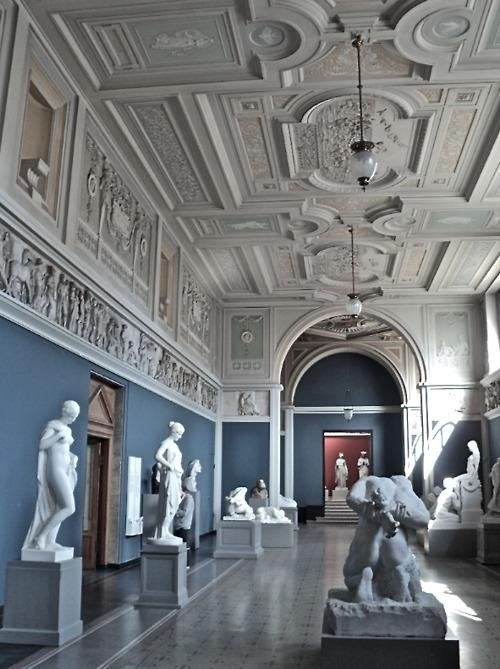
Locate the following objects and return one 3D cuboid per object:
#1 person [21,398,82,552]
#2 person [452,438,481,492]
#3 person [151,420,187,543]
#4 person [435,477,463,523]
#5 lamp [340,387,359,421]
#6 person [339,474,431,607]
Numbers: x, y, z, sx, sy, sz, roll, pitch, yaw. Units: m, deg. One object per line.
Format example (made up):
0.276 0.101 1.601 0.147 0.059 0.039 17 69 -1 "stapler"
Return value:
-1.608 1.138 3.698 0.348 1.164 0.301 7 -15 -25 "person"
5.458 3.272 11.211 0.499 1.136 1.207 -10 -17 37 "person"
-1.006 1.786 5.504 0.330 1.395 0.622 2 -14 -8 "person"
4.684 3.940 10.686 0.568 0.891 0.837 -6 -15 24 "person"
4.538 3.260 20.494 0.629 2.177 0.642 2 -25 8 "lamp"
0.841 1.272 2.763 0.523 0.714 0.581 -2 -14 10 "person"
